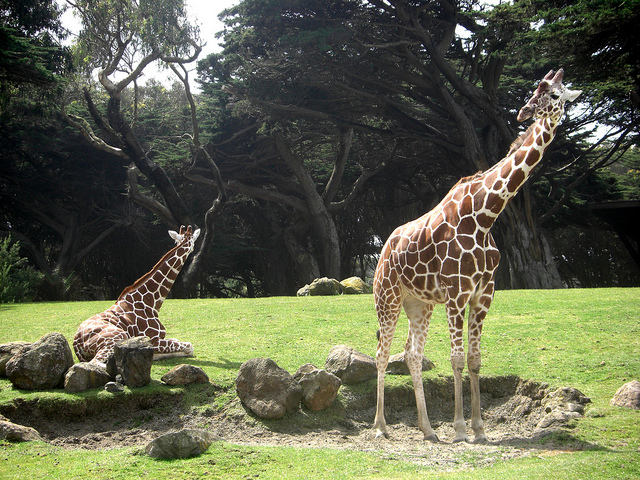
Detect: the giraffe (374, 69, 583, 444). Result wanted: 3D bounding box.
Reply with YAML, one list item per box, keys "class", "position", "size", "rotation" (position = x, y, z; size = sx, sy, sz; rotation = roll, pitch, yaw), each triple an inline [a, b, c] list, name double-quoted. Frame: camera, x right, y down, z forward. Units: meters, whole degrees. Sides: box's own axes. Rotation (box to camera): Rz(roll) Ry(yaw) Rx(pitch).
- class: "giraffe"
  position: [1.962, 0.270, 7.833]
  size: [2.494, 4.880, 0.871]
  rotation: [-2, -7, 10]

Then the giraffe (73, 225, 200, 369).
- class: "giraffe"
  position: [-3.189, 1.019, 9.542]
  size: [1.029, 2.300, 2.863]
  rotation: [-13, -6, 38]
